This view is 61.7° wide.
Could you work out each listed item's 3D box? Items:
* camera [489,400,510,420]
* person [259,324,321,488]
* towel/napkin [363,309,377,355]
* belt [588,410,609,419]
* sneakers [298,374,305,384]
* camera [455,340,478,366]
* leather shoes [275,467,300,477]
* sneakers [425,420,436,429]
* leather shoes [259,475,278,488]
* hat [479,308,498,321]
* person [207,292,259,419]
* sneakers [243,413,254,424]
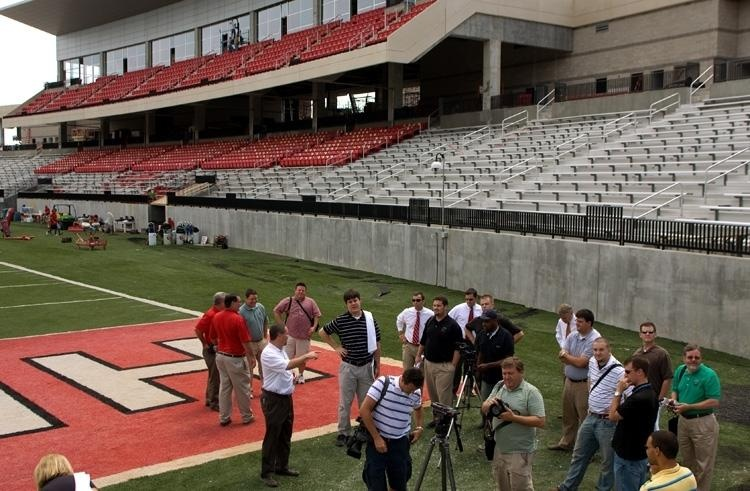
[{"bbox_3d":[1.861,2.442,9.313,0.287,0.286,0.303,-10,-11,36],"label":"camera"},{"bbox_3d":[-1.646,2.728,10.916,0.791,2.693,0.689,-2,5,-28],"label":"person"},{"bbox_3d":[-0.085,1.647,11.736,0.248,0.796,0.282,-1,4,-15],"label":"towel/napkin"},{"bbox_3d":[3.721,2.765,10.214,0.184,0.041,0.183,1,-2,35],"label":"belt"},{"bbox_3d":[-1.736,3.136,14.581,0.136,0.149,0.365,1,-8,-6],"label":"sneakers"},{"bbox_3d":[1.807,2.083,11.966,0.362,0.458,0.500,0,-8,5],"label":"camera"},{"bbox_3d":[-1.527,3.972,10.948,0.432,0.158,0.154,-1,5,-5],"label":"leather shoes"},{"bbox_3d":[1.124,3.541,12.333,0.265,0.117,0.099,1,-1,34],"label":"sneakers"},{"bbox_3d":[-1.814,4.028,10.674,0.345,0.131,0.124,-4,-1,40],"label":"leather shoes"},{"bbox_3d":[2.177,1.317,11.748,0.289,0.228,0.297,1,4,13],"label":"hat"},{"bbox_3d":[-2.689,2.291,12.200,0.890,2.649,0.505,3,5,35],"label":"person"},{"bbox_3d":[-2.552,3.464,12.463,0.133,0.194,0.287,3,15,17],"label":"sneakers"}]
